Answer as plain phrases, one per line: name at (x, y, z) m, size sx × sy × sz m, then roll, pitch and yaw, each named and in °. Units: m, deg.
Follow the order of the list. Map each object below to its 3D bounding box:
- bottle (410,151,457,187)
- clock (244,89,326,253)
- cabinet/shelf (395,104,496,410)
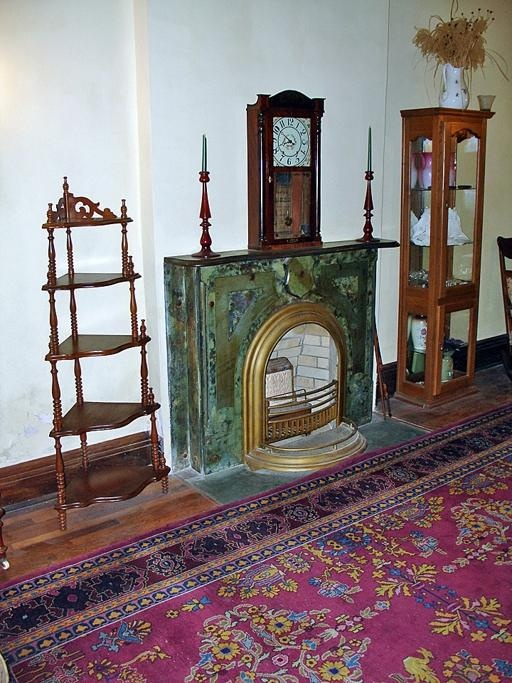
bottle at (1.040, -1.052, 3.518) m, size 0.241 × 0.251 × 0.226 m, roll -22°, pitch 32°, yaw -36°
clock at (0.162, -0.838, 2.837) m, size 0.425 × 0.736 × 0.170 m, roll -8°, pitch 12°, yaw -32°
cabinet/shelf at (1.208, -0.508, 3.683) m, size 0.581 × 1.838 × 0.428 m, roll -1°, pitch 10°, yaw 2°
